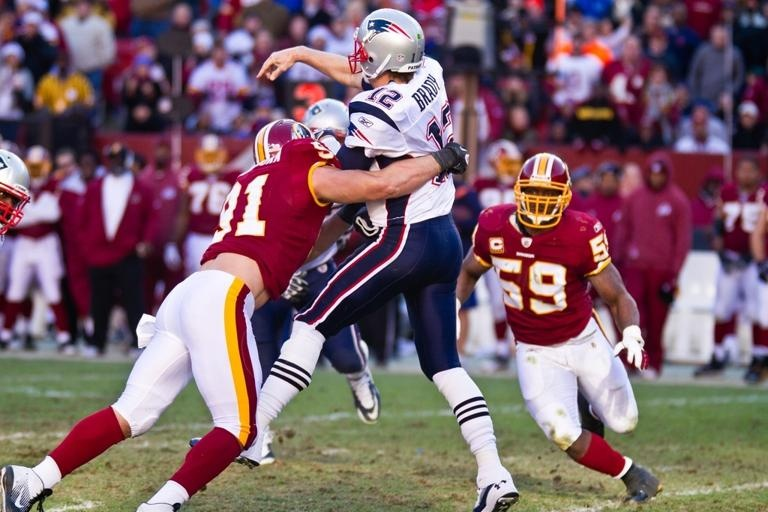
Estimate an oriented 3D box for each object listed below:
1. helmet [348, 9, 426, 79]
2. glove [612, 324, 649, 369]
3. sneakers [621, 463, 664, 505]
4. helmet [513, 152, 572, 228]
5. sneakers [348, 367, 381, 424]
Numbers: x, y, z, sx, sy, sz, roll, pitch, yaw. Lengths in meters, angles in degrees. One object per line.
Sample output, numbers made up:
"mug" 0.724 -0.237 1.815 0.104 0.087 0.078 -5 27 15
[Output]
"helmet" 0.055 -1.484 7.149 0.476 0.407 0.416 20 34 16
"glove" 1.643 0.624 6.889 0.202 0.298 0.115 7 -26 -27
"sneakers" 1.787 1.593 7.145 0.273 0.205 0.121 -37 -14 -13
"helmet" 1.099 -0.441 7.139 0.347 0.443 0.502 2 14 13
"sneakers" -0.153 1.089 8.054 0.167 0.541 0.218 -15 7 11
